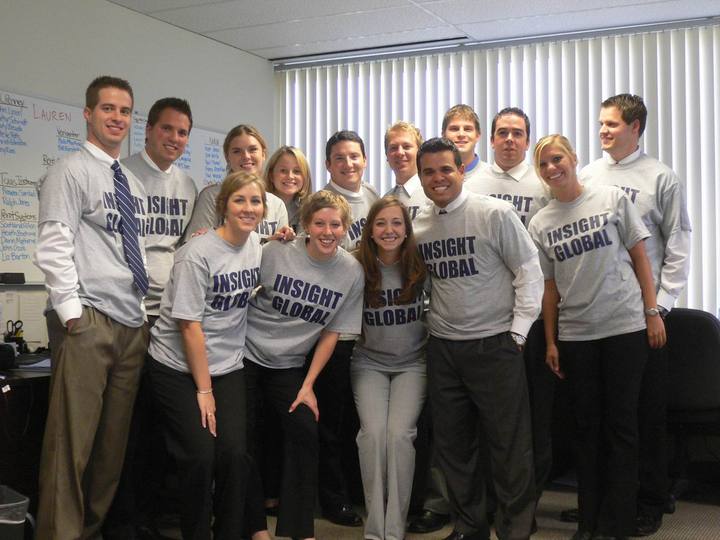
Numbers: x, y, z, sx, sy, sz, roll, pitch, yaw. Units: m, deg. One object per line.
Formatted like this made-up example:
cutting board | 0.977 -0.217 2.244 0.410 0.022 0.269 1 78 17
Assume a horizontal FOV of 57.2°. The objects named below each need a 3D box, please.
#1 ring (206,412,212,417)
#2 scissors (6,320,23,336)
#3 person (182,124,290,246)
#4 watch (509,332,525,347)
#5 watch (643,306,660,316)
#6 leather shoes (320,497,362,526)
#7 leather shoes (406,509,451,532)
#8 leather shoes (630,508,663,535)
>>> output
ring | -0.753 0.721 3.277 0.018 0.006 0.019 3 10 0
scissors | -2.402 0.409 4.578 0.106 0.111 0.024 7 -9 -16
person | -0.712 -0.408 3.893 0.700 0.894 0.298 -5 16 -23
watch | 0.818 0.377 3.467 0.056 0.075 0.042 29 62 35
watch | 1.582 0.227 3.577 0.054 0.057 0.052 -2 -5 -12
leather shoes | -0.107 1.427 3.892 0.278 0.123 0.096 -1 -2 26
leather shoes | 0.392 1.427 3.769 0.237 0.104 0.094 5 -9 -29
leather shoes | 1.609 1.421 3.699 0.144 0.072 0.204 -4 10 32
